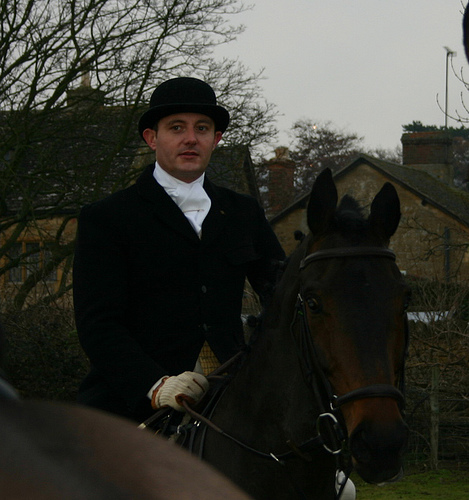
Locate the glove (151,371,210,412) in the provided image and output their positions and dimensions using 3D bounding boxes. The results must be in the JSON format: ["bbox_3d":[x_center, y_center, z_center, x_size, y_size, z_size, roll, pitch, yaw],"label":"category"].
[{"bbox_3d":[-0.193,0.451,2.771,0.168,0.107,0.069,-5,-47,27],"label":"glove"}]

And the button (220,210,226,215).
[{"bbox_3d":[-0.051,-0.152,3.538,0.020,0.016,0.003,1,-27,-12],"label":"button"}]

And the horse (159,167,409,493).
[{"bbox_3d":[0.230,0.243,2.536,0.344,0.935,0.970,7,-11,-31],"label":"horse"}]
